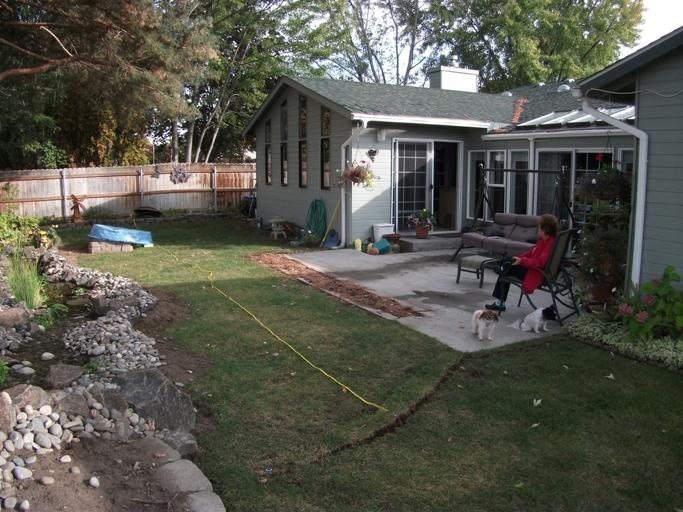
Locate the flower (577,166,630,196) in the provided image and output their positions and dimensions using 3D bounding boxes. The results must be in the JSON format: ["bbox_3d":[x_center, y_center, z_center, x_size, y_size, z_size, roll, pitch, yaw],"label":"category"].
[{"bbox_3d":[4.960,-1.363,9.132,0.772,0.342,0.821,8,15,30],"label":"flower"}]

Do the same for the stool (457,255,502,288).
[{"bbox_3d":[2.873,0.222,10.002,0.871,0.568,0.774,-8,13,-35],"label":"stool"}]

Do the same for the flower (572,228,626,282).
[{"bbox_3d":[4.124,-0.019,8.006,0.663,0.825,0.693,0,7,-3],"label":"flower"}]

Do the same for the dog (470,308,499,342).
[{"bbox_3d":[2.089,0.967,7.143,0.318,0.435,0.488,5,7,14],"label":"dog"}]

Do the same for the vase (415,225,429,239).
[{"bbox_3d":[2.395,-0.719,14.427,0.379,0.416,0.295,3,7,6],"label":"vase"}]

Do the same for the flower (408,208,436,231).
[{"bbox_3d":[2.348,-1.072,14.584,0.720,0.443,0.657,0,4,-24],"label":"flower"}]

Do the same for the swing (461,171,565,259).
[{"bbox_3d":[4.408,-0.927,11.984,1.881,2.445,2.753,-6,11,-40],"label":"swing"}]

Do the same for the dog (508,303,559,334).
[{"bbox_3d":[2.964,0.944,7.450,0.660,0.367,0.510,4,7,12],"label":"dog"}]
